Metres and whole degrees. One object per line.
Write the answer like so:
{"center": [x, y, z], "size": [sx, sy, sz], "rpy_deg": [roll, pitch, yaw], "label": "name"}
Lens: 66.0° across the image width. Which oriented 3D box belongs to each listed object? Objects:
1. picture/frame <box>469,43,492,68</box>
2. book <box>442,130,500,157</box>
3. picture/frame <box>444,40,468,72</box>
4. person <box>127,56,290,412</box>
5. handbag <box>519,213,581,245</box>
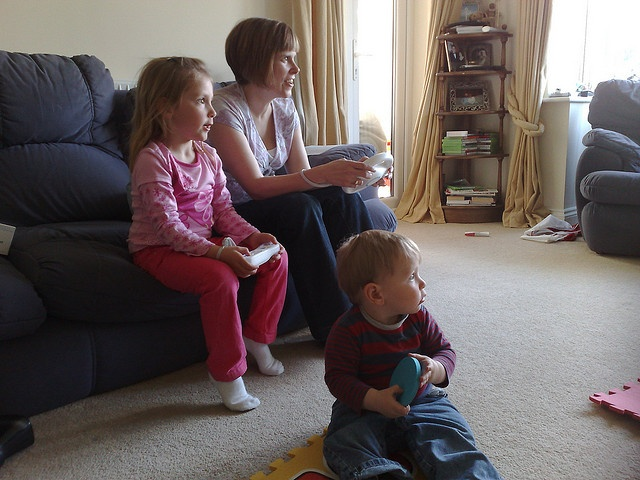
{"center": [1.372, -1.586, 4.232], "size": [0.237, 0.240, 0.067], "rpy_deg": [0, 4, 11], "label": "picture/frame"}
{"center": [1.292, -0.833, 4.217], "size": [0.490, 0.187, 0.176], "rpy_deg": [-2, 18, 1], "label": "book"}
{"center": [1.139, -1.558, 4.179], "size": [0.238, 0.327, 0.031], "rpy_deg": [-14, 1, -28], "label": "picture/frame"}
{"center": [-0.404, -0.058, 1.700], "size": [0.391, 1.093, 0.628], "rpy_deg": [-18, 24, -41], "label": "person"}
{"center": [1.708, -0.070, 3.655], "size": [0.305, 0.104, 0.239], "rpy_deg": [-10, 14, -23], "label": "handbag"}
